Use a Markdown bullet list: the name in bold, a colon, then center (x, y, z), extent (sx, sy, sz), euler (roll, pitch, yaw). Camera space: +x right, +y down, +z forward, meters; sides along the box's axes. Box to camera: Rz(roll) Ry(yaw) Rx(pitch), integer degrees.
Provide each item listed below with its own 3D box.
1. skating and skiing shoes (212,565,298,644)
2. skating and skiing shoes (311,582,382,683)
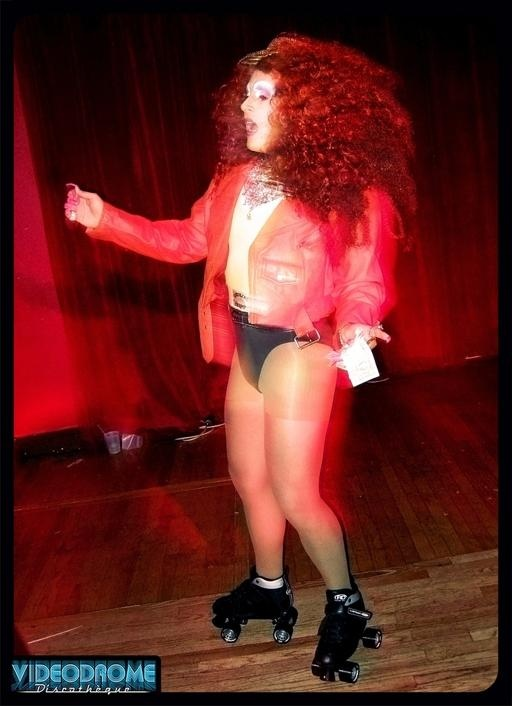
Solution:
- **skating and skiing shoes**: center (-0.009, 0.625, 1.323), extent (0.212, 0.150, 0.134), euler (-6, -4, 10)
- **skating and skiing shoes**: center (0.187, 0.629, 1.191), extent (0.183, 0.203, 0.164), euler (4, 23, 7)
